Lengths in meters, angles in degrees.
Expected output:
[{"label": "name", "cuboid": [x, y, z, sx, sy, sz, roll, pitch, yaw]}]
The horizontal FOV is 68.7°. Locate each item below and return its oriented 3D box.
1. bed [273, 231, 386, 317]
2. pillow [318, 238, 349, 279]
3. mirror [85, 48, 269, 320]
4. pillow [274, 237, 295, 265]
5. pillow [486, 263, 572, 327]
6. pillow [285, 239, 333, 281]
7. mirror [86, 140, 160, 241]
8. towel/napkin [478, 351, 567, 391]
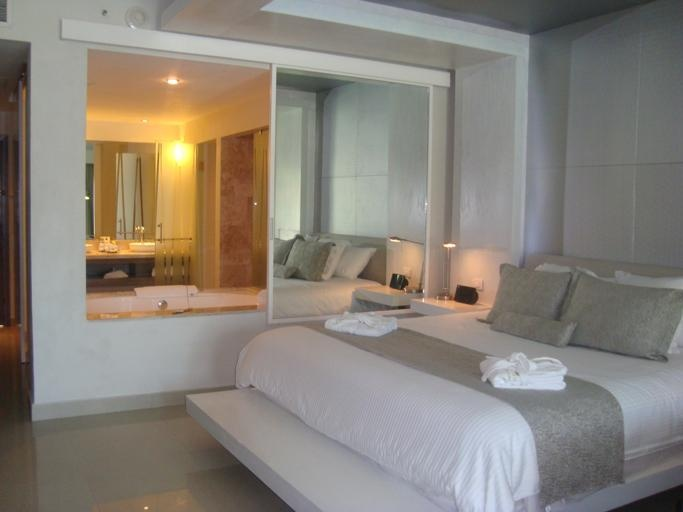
[{"label": "bed", "cuboid": [-0.198, 0.182, 5.207, 0.899, 0.570, 0.897, 0, 1, -25]}, {"label": "pillow", "cuboid": [-0.069, 0.034, 5.114, 0.104, 0.344, 0.357, 20, -5, -25]}, {"label": "mirror", "cuboid": [-2.001, -0.872, 5.960, 2.531, 2.675, 1.363, -1, -2, 44]}, {"label": "pillow", "cuboid": [-0.581, -0.058, 4.838, 0.220, 0.219, 0.067, 8, -5, -4]}, {"label": "pillow", "cuboid": [1.601, 0.315, 4.229, 0.167, 0.499, 0.533, 24, -10, -29]}, {"label": "pillow", "cuboid": [-0.323, 0.030, 4.962, 0.426, 0.401, 0.134, 12, -8, -15]}, {"label": "mirror", "cuboid": [-3.131, -0.975, 7.107, 0.585, 1.143, 0.645, 0, 21, -21]}, {"label": "towel/napkin", "cuboid": [1.043, 0.670, 2.853, 0.267, 0.102, 0.283, 1, -3, 2]}]
